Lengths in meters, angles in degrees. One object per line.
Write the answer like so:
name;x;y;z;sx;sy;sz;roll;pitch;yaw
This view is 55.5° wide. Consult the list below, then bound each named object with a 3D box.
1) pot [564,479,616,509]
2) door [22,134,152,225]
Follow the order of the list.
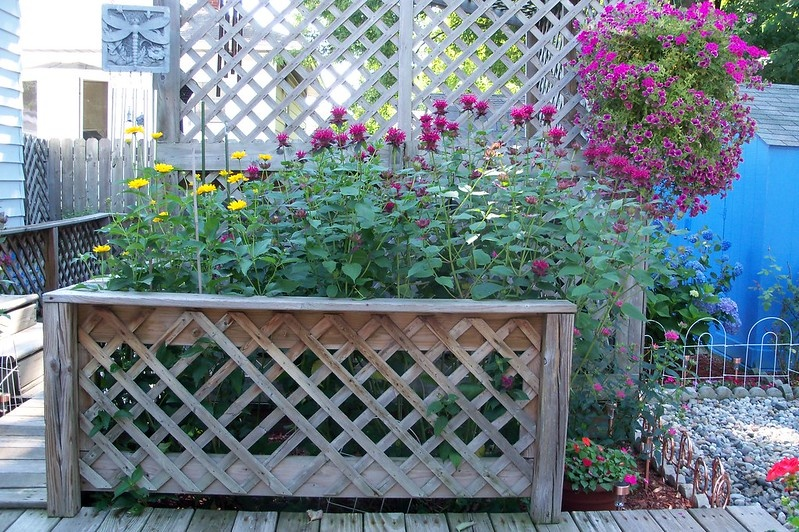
pot;1.041;1.257;4.093;0.185;0.122;0.190;-2;0;0
door;-3.700;-1.008;8.838;0.069;1.022;1.452;20;20;35
